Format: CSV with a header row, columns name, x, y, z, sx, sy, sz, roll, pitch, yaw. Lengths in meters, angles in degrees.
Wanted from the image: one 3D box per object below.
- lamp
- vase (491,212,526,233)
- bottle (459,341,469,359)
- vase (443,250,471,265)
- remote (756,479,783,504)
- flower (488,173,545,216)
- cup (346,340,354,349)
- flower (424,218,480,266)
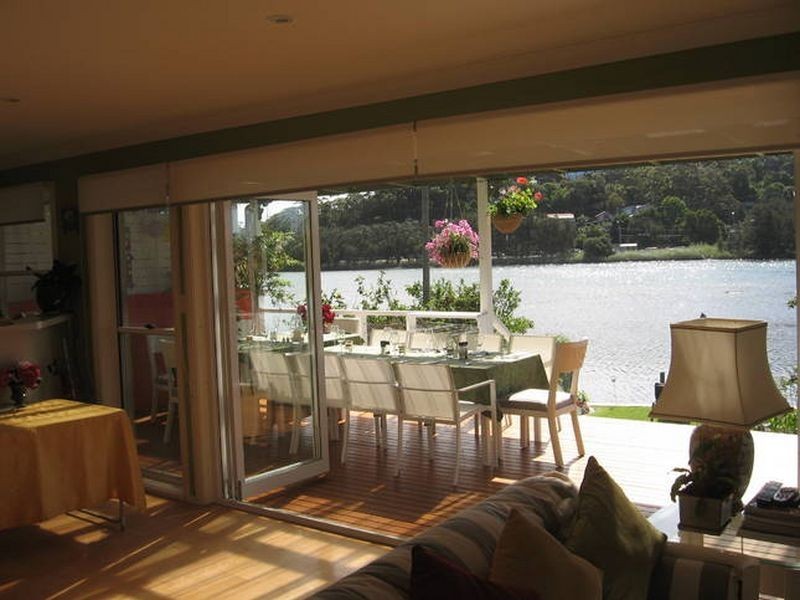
name,x,y,z,sx,sy,sz,roll,pitch,yaw
lamp,1.259,0.332,2.428,0.495,0.583,0.460,-1,-2,-42
vase,1.150,-0.834,6.634,0.312,0.184,0.306,0,1,-2
bottle,0.551,0.445,5.532,0.127,0.127,0.124,-1,-2,2
vase,0.610,-0.445,6.653,0.286,0.155,0.363,-2,5,4
remote,1.549,0.786,2.576,0.070,0.033,0.246,1,4,34
flower,1.338,-1.164,6.786,0.512,0.482,0.886,0,5,25
cup,-0.502,0.431,6.191,0.090,0.083,0.064,3,9,20
flower,0.594,-0.666,7.068,0.515,0.557,1.249,-2,5,4
